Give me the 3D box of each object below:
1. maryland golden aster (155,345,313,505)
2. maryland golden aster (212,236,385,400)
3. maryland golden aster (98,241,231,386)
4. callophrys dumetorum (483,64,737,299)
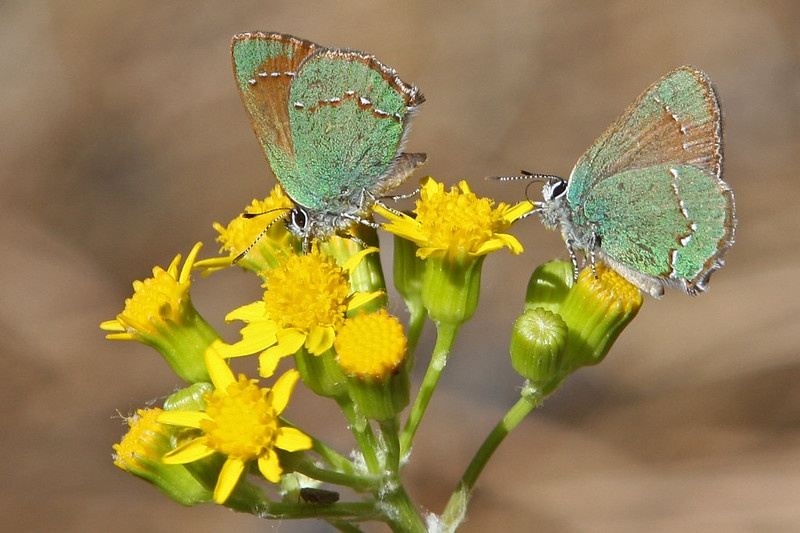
[{"bbox_3d":[-0.962,0.946,4.970,0.897,0.828,0.429,-1,-39,1],"label":"maryland golden aster"},{"bbox_3d":[-0.673,0.118,5.312,0.698,0.945,1.216,-3,-82,-12],"label":"maryland golden aster"},{"bbox_3d":[-1.371,0.345,5.146,0.533,0.459,0.904,5,-81,24],"label":"maryland golden aster"},{"bbox_3d":[1.529,-0.695,5.982,1.547,1.674,1.494,1,-76,17],"label":"callophrys dumetorum"}]
